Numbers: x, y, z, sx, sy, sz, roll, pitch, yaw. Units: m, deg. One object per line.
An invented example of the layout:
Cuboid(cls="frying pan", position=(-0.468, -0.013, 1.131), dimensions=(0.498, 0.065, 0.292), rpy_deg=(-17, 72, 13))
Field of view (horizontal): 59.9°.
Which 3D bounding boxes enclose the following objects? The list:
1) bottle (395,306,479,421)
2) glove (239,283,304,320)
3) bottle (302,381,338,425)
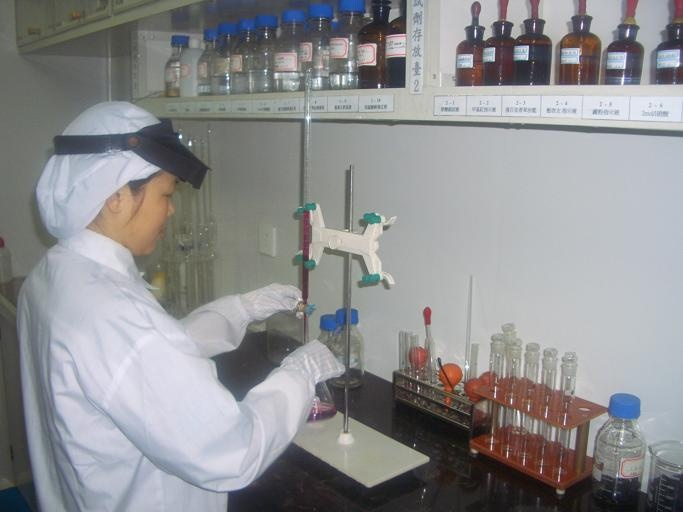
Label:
Cuboid(cls="bottle", position=(0.292, 0.328, 1.770), dimensions=(0.106, 0.300, 0.282), rpy_deg=(-6, 10, -32))
Cuboid(cls="glove", position=(-0.215, 0.135, 1.823), dimensions=(0.157, 0.119, 0.056), rpy_deg=(-9, -24, -1))
Cuboid(cls="bottle", position=(-0.055, 0.423, 1.733), dimensions=(0.080, 0.189, 0.105), rpy_deg=(-7, -17, 6))
